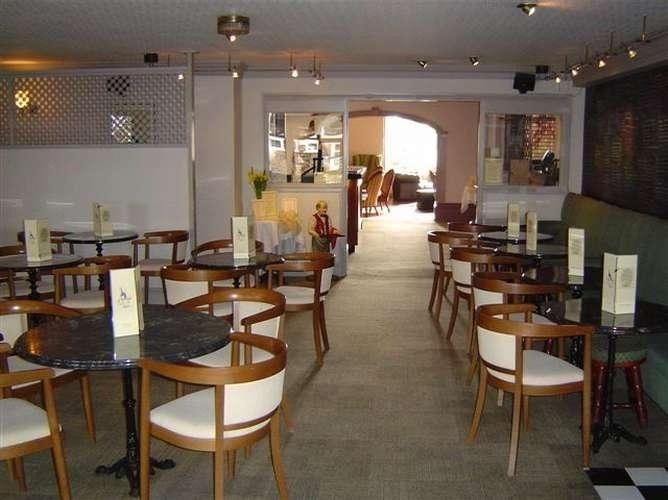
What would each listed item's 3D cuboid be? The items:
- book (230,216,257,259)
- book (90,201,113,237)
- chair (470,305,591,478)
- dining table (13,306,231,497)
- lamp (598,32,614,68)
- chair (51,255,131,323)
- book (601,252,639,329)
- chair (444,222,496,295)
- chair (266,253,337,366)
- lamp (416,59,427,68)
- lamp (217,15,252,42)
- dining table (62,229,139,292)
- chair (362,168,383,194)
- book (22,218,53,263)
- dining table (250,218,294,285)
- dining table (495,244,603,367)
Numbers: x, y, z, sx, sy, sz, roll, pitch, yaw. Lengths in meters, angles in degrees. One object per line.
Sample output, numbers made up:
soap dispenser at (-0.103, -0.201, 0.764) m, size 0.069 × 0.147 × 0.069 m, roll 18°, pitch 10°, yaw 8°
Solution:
book at (-0.892, -0.112, 5.246) m, size 0.152 × 0.415 × 0.438 m, roll -4°, pitch 5°, yaw 8°
book at (-2.733, -0.350, 6.293) m, size 0.197 × 0.373 × 0.223 m, roll -5°, pitch 10°, yaw -25°
chair at (1.301, 0.965, 3.518) m, size 0.680 × 1.046 × 0.858 m, roll -5°, pitch 8°, yaw -10°
dining table at (-1.134, 0.900, 3.118) m, size 1.089 × 0.789 × 1.075 m, roll -4°, pitch 13°, yaw -22°
lamp at (3.200, -2.269, 6.264) m, size 0.144 × 0.350 × 1.452 m, roll 4°, pitch 10°, yaw 27°
chair at (-1.922, 0.298, 4.189) m, size 0.457 × 0.645 × 0.510 m, roll 6°, pitch 11°, yaw -2°
book at (1.885, 0.282, 3.524) m, size 0.218 × 0.618 × 0.412 m, roll 3°, pitch 7°, yaw 39°
chair at (1.719, -0.093, 6.983) m, size 0.447 × 0.535 × 0.394 m, roll 12°, pitch 21°, yaw 40°
chair at (-0.285, 0.459, 5.471) m, size 0.929 × 1.340 × 1.106 m, roll 1°, pitch 6°, yaw -3°
lamp at (1.280, -2.723, 7.767) m, size 0.122 × 0.059 × 0.169 m, roll 1°, pitch 7°, yaw 1°
lamp at (-1.010, -2.235, 5.354) m, size 0.354 × 0.194 × 0.255 m, roll 4°, pitch 10°, yaw 25°
dining table at (-2.835, 0.025, 6.457) m, size 0.788 × 0.829 × 0.754 m, roll -1°, pitch 19°, yaw -11°
chair at (1.070, -2.060, 15.414) m, size 0.687 × 0.917 × 0.696 m, roll 0°, pitch 17°, yaw 1°
book at (-2.802, -0.093, 5.038) m, size 0.207 × 0.384 × 0.274 m, roll -6°, pitch 11°, yaw -30°
dining table at (-0.863, -0.026, 7.199) m, size 0.686 × 0.691 × 0.732 m, roll 1°, pitch 5°, yaw 7°
dining table at (2.138, 0.577, 5.129) m, size 1.229 × 0.827 × 1.184 m, roll 0°, pitch 21°, yaw 3°
